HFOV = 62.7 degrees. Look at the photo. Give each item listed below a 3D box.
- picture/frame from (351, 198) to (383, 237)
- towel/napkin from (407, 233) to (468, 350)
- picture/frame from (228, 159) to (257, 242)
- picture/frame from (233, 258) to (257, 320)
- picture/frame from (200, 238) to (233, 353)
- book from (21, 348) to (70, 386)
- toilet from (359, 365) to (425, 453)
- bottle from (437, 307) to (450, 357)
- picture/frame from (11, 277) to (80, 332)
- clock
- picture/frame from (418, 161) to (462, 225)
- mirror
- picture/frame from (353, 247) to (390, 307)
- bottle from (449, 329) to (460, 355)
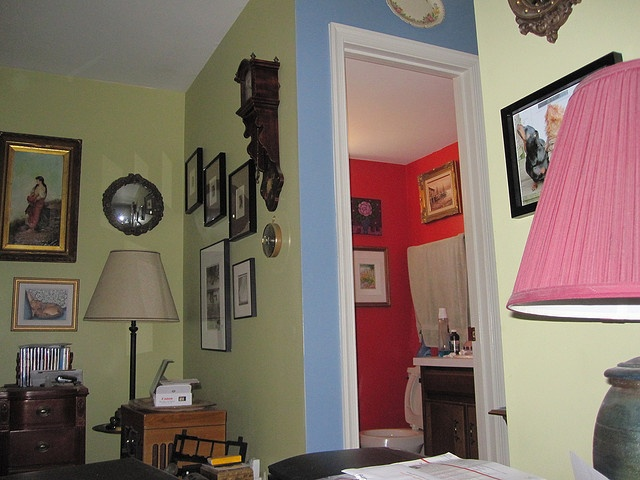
[{"bbox_3d":[0.498,-0.241,5.782,0.379,0.402,0.040,5,-11,-34],"label":"picture/frame"},{"bbox_3d":[1.186,0.514,5.249,0.124,1.255,1.069,1,-7,-24],"label":"towel/napkin"},{"bbox_3d":[-0.467,-0.232,3.228,0.053,0.537,0.381,5,-16,-28],"label":"picture/frame"},{"bbox_3d":[-0.443,0.300,3.157,0.034,0.322,0.363,1,0,-18],"label":"picture/frame"},{"bbox_3d":[-0.688,0.387,3.530,0.064,0.977,0.655,2,-8,-23],"label":"picture/frame"},{"bbox_3d":[-1.891,0.865,3.643,0.348,0.269,0.278,4,-12,-31],"label":"book"},{"bbox_3d":[0.713,1.554,4.577,0.590,0.871,0.541,6,-13,-26],"label":"toilet"},{"bbox_3d":[1.167,0.869,4.974,0.107,0.437,0.386,-4,-10,13],"label":"bottle"},{"bbox_3d":[-2.017,0.481,3.830,0.352,0.376,0.025,4,-15,-25],"label":"picture/frame"},{"bbox_3d":[-0.350,-0.600,2.953,0.223,0.898,0.378,2,-11,-23],"label":"clock"},{"bbox_3d":[1.284,-0.492,5.574,0.080,0.629,0.579,5,-11,-23],"label":"picture/frame"},{"bbox_3d":[-1.507,-0.276,4.194,0.449,0.546,0.034,3,-9,-36],"label":"mirror"},{"bbox_3d":[0.532,0.417,5.614,0.581,0.751,0.051,6,-14,-38],"label":"picture/frame"},{"bbox_3d":[1.172,0.906,4.614,0.081,0.199,0.297,-4,-11,13],"label":"bottle"}]
